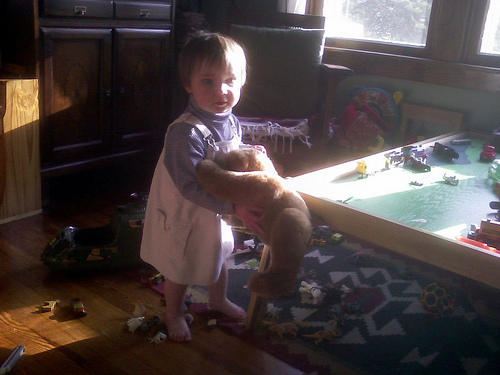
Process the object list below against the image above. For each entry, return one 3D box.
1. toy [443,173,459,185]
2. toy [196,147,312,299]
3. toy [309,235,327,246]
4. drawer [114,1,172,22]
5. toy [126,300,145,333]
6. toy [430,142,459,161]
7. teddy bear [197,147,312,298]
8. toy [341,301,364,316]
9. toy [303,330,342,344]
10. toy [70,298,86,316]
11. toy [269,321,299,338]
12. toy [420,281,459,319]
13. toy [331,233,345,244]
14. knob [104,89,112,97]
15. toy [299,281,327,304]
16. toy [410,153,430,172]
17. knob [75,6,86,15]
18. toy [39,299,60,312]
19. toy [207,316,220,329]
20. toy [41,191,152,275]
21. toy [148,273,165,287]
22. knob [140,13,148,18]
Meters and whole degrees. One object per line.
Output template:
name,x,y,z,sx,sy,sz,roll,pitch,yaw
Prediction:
toy,0.805,-0.031,1.563,0.034,0.017,0.045,-3,15,-8
toy,0.004,0.100,1.187,0.346,0.453,0.298,-8,-14,26
toy,0.351,0.281,2.064,0.103,0.038,0.079,4,6,8
drawer,-0.663,-1.107,2.474,0.039,0.129,0.419,18,23,34
toy,-0.433,0.491,1.508,0.069,0.057,0.110,-15,50,28
toy,0.954,-0.177,1.933,0.071,0.031,0.122,-7,26,-27
teddy bear,0.002,0.093,1.188,0.348,0.439,0.314,-7,-11,32
toy,0.429,0.491,1.602,0.083,0.019,0.080,-5,21,-24
toy,0.271,0.540,1.464,0.146,0.045,0.046,-8,10,-1
toy,-0.662,0.454,1.523,0.036,0.026,0.081,-16,38,-32
toy,0.136,0.527,1.462,0.117,0.027,0.074,-5,20,-23
toy,0.761,0.457,1.652,0.146,0.140,0.141,-28,-17,5
toy,0.460,0.266,2.071,0.046,0.029,0.063,17,29,35
knob,-0.855,-0.580,2.395,0.038,0.036,0.011,-5,24,-35
toy,0.267,0.441,1.670,0.028,0.084,0.077,29,40,-25
toy,0.751,-0.115,1.736,0.084,0.050,0.150,9,20,17
knob,-0.935,-0.984,2.173,0.080,0.051,0.037,-4,34,-22
toy,-0.787,0.459,1.554,0.055,0.016,0.079,9,20,16
toy,-0.146,0.510,1.492,0.029,0.009,0.028,-14,34,-39
toy,-0.659,0.196,1.815,0.560,0.299,0.168,-5,23,-21
toy,-0.408,0.401,1.721,0.040,0.019,0.072,48,39,11
knob,-0.666,-1.085,2.470,0.033,0.011,0.047,-6,9,-36
